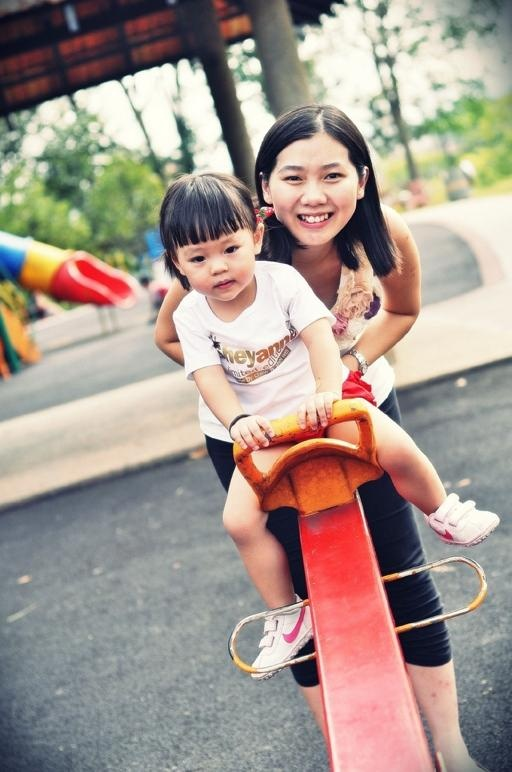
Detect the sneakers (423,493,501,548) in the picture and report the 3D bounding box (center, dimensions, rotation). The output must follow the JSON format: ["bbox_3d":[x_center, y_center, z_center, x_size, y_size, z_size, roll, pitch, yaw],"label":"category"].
[{"bbox_3d":[0.373,0.245,1.273,0.138,0.080,0.078,-2,44,47],"label":"sneakers"}]

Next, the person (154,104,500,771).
[{"bbox_3d":[0.145,0.095,1.495,0.462,1.259,0.854,-11,28,35],"label":"person"}]
